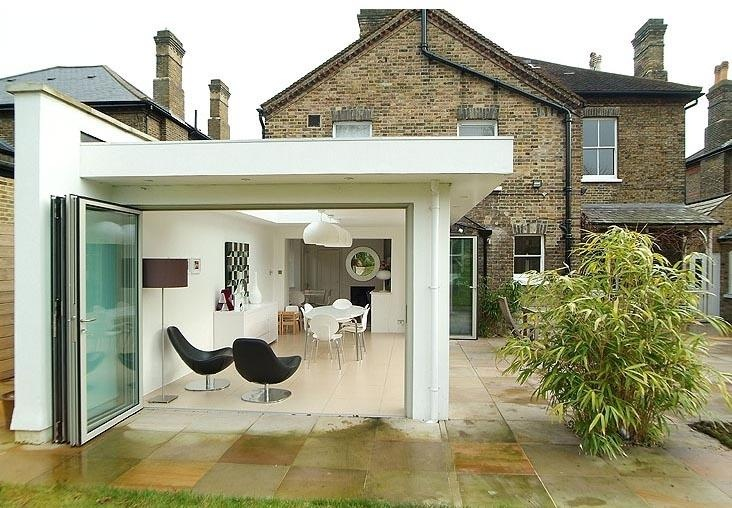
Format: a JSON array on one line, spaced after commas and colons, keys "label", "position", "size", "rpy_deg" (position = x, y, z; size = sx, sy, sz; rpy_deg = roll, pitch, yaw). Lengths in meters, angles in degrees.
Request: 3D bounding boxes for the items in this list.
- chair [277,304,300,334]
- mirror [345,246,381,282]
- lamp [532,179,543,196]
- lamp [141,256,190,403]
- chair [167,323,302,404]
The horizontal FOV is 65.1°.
[{"label": "chair", "position": [-1.797, 1.539, 13.706], "size": [0.588, 0.775, 0.575], "rpy_deg": [1, 5, 9]}, {"label": "mirror", "position": [-0.015, 0.298, 17.190], "size": [0.990, 1.039, 0.987], "rpy_deg": [2, -3, 12]}, {"label": "lamp", "position": [3.823, -1.456, 12.627], "size": [0.284, 0.377, 0.120], "rpy_deg": [-3, 13, -15]}, {"label": "lamp", "position": [-3.074, 1.192, 8.682], "size": [0.670, 2.191, 0.687], "rpy_deg": [0, 0, -1]}, {"label": "chair", "position": [-1.747, 1.653, 8.945], "size": [1.858, 0.822, 1.154], "rpy_deg": [0, 0, 22]}]
